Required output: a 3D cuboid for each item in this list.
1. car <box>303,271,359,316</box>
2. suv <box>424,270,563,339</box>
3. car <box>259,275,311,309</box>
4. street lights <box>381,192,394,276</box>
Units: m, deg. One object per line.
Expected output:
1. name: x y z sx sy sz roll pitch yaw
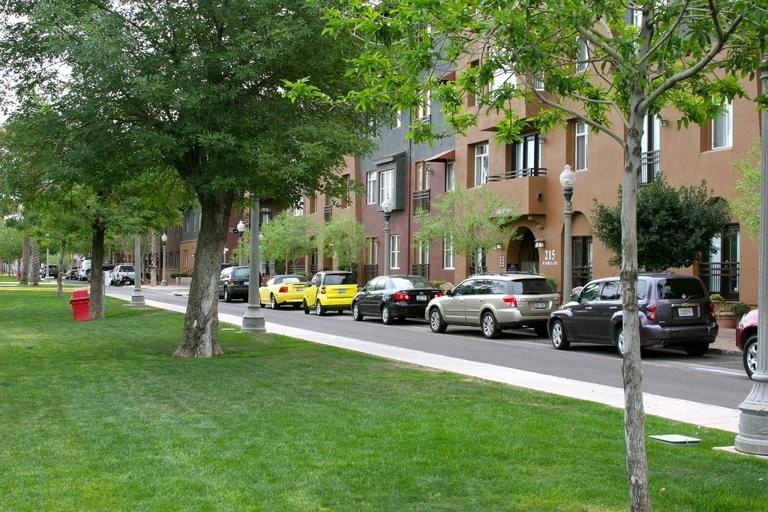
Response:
1. car: -2.433 1.646 33.606 2.703 1.935 1.164 -3 -7 44
2. suv: 3.183 1.639 24.573 1.517 2.045 5.025 7 -7 -41
3. car: -5.055 1.729 37.692 1.333 1.067 3.038 0 1 -22
4. street lights: 0.101 -0.827 35.190 0.636 3.869 0.634 6 -13 -25
